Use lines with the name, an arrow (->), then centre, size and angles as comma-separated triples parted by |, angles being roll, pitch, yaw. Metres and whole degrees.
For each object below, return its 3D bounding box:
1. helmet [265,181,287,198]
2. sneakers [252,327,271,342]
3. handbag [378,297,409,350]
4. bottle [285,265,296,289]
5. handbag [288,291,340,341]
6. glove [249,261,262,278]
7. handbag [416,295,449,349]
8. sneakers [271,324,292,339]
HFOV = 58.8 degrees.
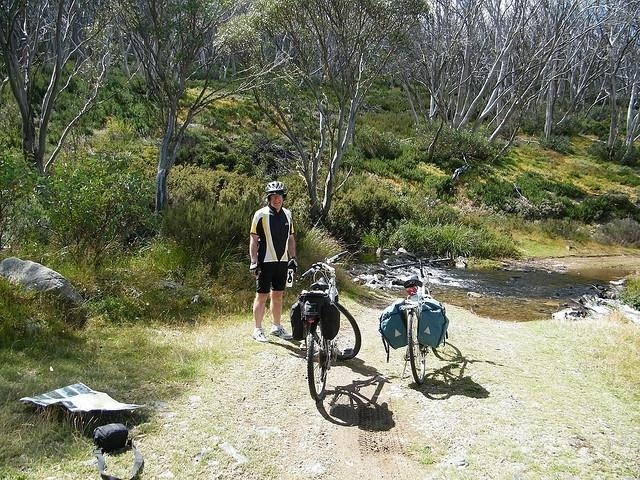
helmet -> -0.738, -0.877, 9.693 | 0.220, 0.296, 0.331 | 1, 3, -1
sneakers -> -1.065, 1.698, 10.100 | 0.146, 0.165, 0.324 | 2, 1, -39
handbag -> 1.212, 1.493, 9.323 | 0.513, 1.147, 0.776 | -5, -18, 18
bottle -> -0.518, 0.618, 9.627 | 0.215, 0.458, 0.095 | 2, -10, -22
handbag -> -0.088, 1.161, 8.434 | 0.716, 0.854, 0.573 | 4, 7, 3
glove -> -1.101, 0.488, 9.542 | 0.158, 0.235, 0.228 | -1, -7, 6
handbag -> 1.804, 1.306, 9.113 | 0.368, 0.797, 0.564 | -12, 12, -15
sneakers -> -0.725, 1.670, 10.260 | 0.434, 0.226, 0.186 | 16, 2, -14
